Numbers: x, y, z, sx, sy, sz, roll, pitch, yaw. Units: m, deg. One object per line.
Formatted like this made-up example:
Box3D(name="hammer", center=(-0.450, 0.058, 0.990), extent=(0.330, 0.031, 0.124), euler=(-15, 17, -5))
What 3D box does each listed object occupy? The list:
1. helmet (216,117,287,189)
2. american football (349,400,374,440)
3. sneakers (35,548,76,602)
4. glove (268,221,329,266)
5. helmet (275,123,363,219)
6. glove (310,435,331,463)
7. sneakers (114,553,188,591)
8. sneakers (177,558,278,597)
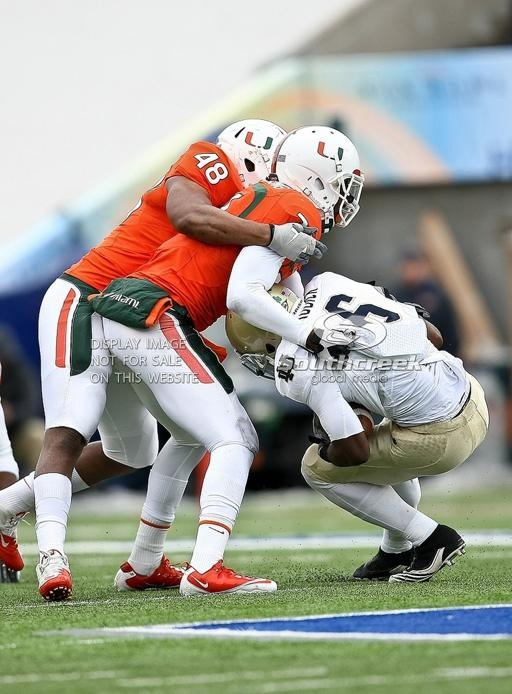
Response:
Box3D(name="helmet", center=(-0.037, -0.749, 3.249), extent=(0.327, 0.253, 0.236), euler=(-7, 28, -13))
Box3D(name="american football", center=(0.362, 0.238, 2.819), extent=(0.117, 0.048, 0.088), euler=(34, -7, 28))
Box3D(name="sneakers", center=(-0.600, 0.679, 2.533), extent=(0.090, 0.143, 0.115), euler=(-10, 26, -18))
Box3D(name="glove", center=(0.136, -0.333, 2.770), extent=(0.151, 0.167, 0.222), euler=(5, 24, 15))
Box3D(name="helmet", center=(0.226, -0.606, 2.927), extent=(0.396, 0.307, 0.291), euler=(1, 11, -12))
Box3D(name="glove", center=(0.204, 0.343, 2.905), extent=(0.057, 0.081, 0.066), euler=(4, 16, -10))
Box3D(name="sneakers", center=(-0.335, 0.841, 3.162), extent=(0.349, 0.117, 0.111), euler=(0, 8, -21))
Box3D(name="sneakers", center=(-0.101, 0.710, 2.652), extent=(0.357, 0.111, 0.104), euler=(1, -9, -8))
